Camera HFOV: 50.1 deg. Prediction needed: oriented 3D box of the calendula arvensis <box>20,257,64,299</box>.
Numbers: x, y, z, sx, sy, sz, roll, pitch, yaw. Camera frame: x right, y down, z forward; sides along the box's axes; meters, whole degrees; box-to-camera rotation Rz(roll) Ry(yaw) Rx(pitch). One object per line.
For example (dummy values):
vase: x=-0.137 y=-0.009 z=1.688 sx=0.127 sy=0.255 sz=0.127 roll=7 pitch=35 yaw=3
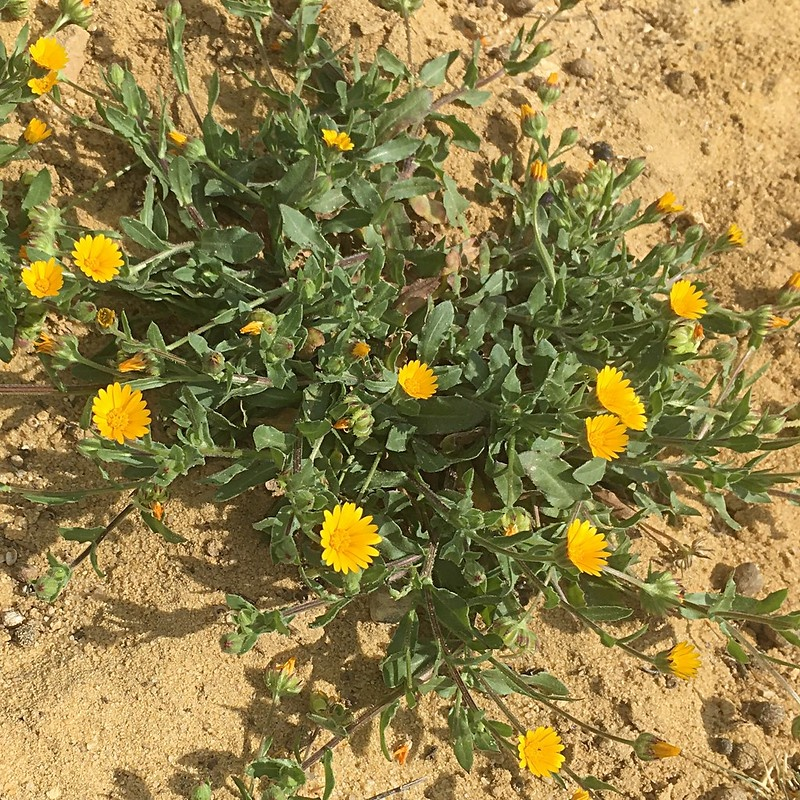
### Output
calendula arvensis: x=-1.004 y=-0.336 z=2.413 sx=0.109 sy=0.141 sz=0.121 roll=-12 pitch=69 yaw=-19

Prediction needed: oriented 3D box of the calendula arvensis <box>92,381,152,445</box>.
calendula arvensis: x=-0.747 y=0.038 z=2.289 sx=0.138 sy=0.100 sz=0.174 roll=-8 pitch=65 yaw=-17

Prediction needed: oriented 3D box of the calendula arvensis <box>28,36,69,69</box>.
calendula arvensis: x=-1.053 y=-1.049 z=2.571 sx=0.100 sy=0.082 sz=0.133 roll=3 pitch=63 yaw=-12

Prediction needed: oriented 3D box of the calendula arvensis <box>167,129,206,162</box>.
calendula arvensis: x=-0.690 y=-0.801 z=2.695 sx=0.212 sy=0.086 sz=0.060 roll=23 pitch=94 yaw=40

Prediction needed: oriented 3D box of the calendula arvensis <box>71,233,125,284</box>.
calendula arvensis: x=-0.852 y=-0.400 z=2.434 sx=0.129 sy=0.177 sz=0.156 roll=4 pitch=65 yaw=-13

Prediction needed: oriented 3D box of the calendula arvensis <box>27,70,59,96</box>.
calendula arvensis: x=-1.075 y=-0.954 z=2.581 sx=0.077 sy=0.078 sz=0.030 roll=-46 pitch=43 yaw=-1
